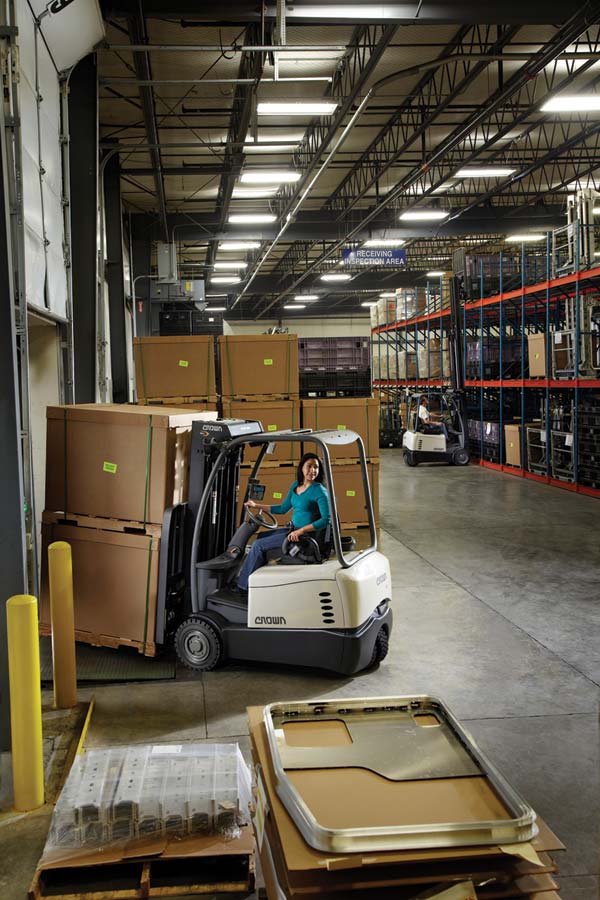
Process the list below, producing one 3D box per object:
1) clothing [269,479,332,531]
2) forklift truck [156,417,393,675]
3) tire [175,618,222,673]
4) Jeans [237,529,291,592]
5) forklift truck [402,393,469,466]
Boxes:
[{"bbox_3d":[0.001,0.539,5.315,0.312,0.390,0.589,14,-5,-16],"label":"clothing"},{"bbox_3d":[-0.267,0.708,5.342,1.726,1.995,1.207,2,1,17],"label":"forklift truck"},{"bbox_3d":[-0.779,1.526,5.066,0.392,0.437,0.145,3,9,20],"label":"tire"},{"bbox_3d":[-0.260,0.909,5.457,0.439,0.603,0.443,8,1,3],"label":"Jeans"},{"bbox_3d":[4.344,-0.723,19.810,2.012,2.381,1.342,-3,6,-3],"label":"forklift truck"}]
